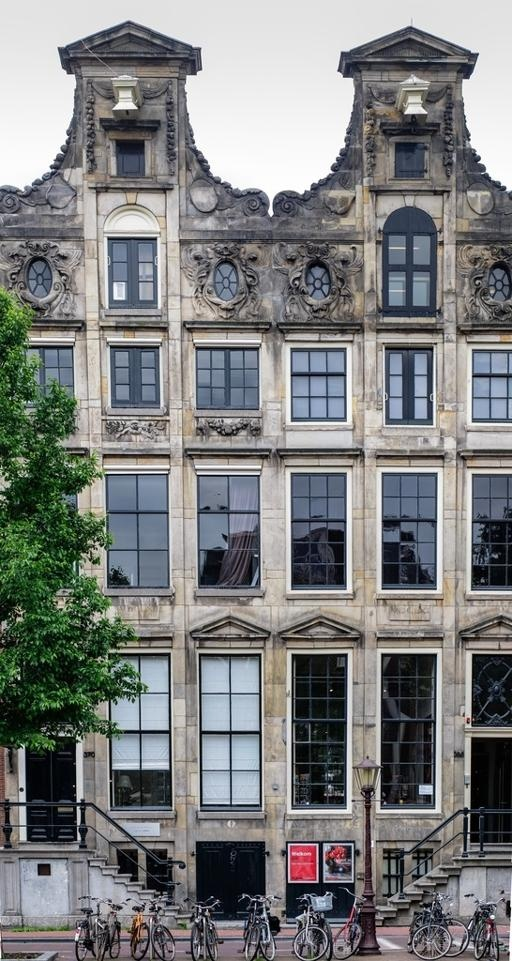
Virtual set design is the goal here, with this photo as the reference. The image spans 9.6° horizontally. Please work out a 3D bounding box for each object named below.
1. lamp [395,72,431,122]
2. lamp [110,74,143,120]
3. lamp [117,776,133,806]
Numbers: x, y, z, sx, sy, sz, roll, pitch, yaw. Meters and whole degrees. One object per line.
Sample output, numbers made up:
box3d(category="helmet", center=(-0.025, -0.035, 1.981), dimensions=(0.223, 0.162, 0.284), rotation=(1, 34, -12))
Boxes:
box3d(category="lamp", center=(3.197, -7.948, 63.429), dimensions=(0.571, 1.006, 0.961), rotation=(0, -27, 1))
box3d(category="lamp", center=(-2.600, -8.012, 63.243), dimensions=(0.497, 0.818, 0.934), rotation=(-1, -31, -6))
box3d(category="lamp", center=(-2.658, 6.457, 63.095), dimensions=(0.339, 0.647, 0.102), rotation=(1, -10, -11))
